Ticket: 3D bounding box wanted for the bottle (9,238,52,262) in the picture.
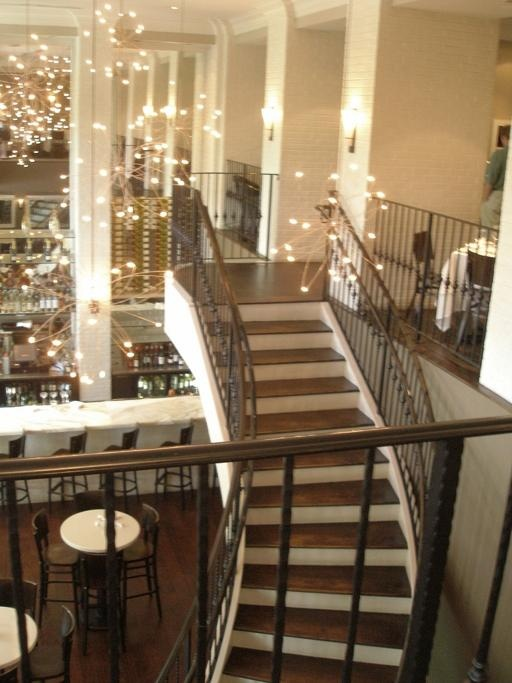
[{"bbox_3d":[-3.190,-1.299,8.245,0.136,0.317,0.651,11,17,41],"label":"bottle"}]
